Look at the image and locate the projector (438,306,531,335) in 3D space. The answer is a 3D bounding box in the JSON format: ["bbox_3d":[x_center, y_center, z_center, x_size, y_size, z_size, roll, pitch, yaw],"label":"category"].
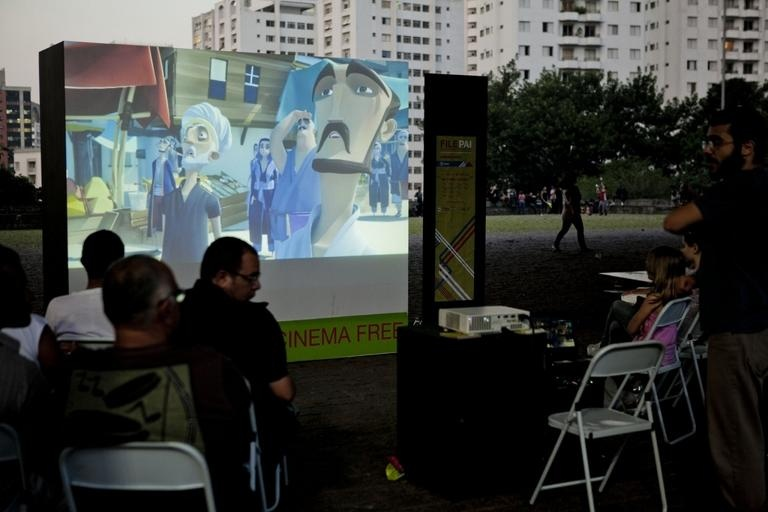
[{"bbox_3d":[0.832,0.523,6.860,0.758,0.184,0.336,2,8,-1],"label":"projector"}]

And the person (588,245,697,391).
[{"bbox_3d":[2.511,0.487,7.909,0.624,1.712,0.487,0,0,-8],"label":"person"}]

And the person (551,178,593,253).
[{"bbox_3d":[4.787,-0.939,21.027,0.940,2.306,0.958,-10,39,-10],"label":"person"}]
